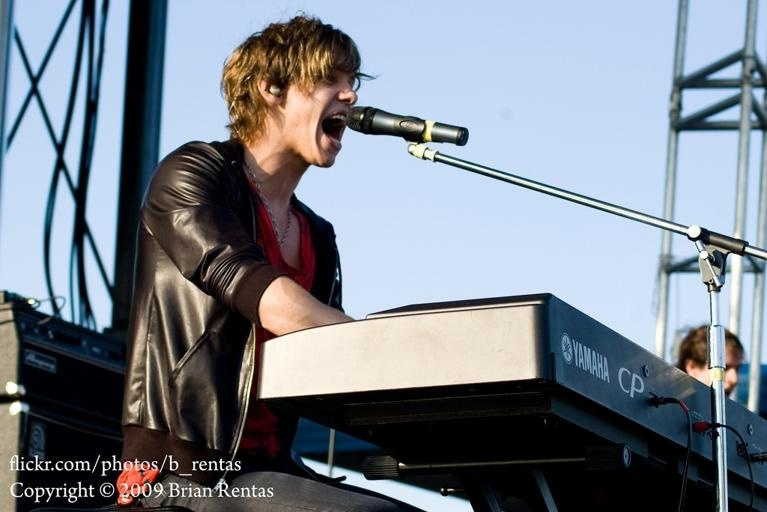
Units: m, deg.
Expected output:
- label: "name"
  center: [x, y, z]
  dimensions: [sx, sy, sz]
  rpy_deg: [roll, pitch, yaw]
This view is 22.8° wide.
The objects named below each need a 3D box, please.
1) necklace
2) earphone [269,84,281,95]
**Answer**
- label: "necklace"
  center: [-0.473, -0.184, 7.768]
  dimensions: [0.130, 0.384, 0.032]
  rpy_deg: [-8, -20, -36]
- label: "earphone"
  center: [-0.442, -0.659, 7.734]
  dimensions: [0.037, 0.038, 0.011]
  rpy_deg: [7, 3, 5]
